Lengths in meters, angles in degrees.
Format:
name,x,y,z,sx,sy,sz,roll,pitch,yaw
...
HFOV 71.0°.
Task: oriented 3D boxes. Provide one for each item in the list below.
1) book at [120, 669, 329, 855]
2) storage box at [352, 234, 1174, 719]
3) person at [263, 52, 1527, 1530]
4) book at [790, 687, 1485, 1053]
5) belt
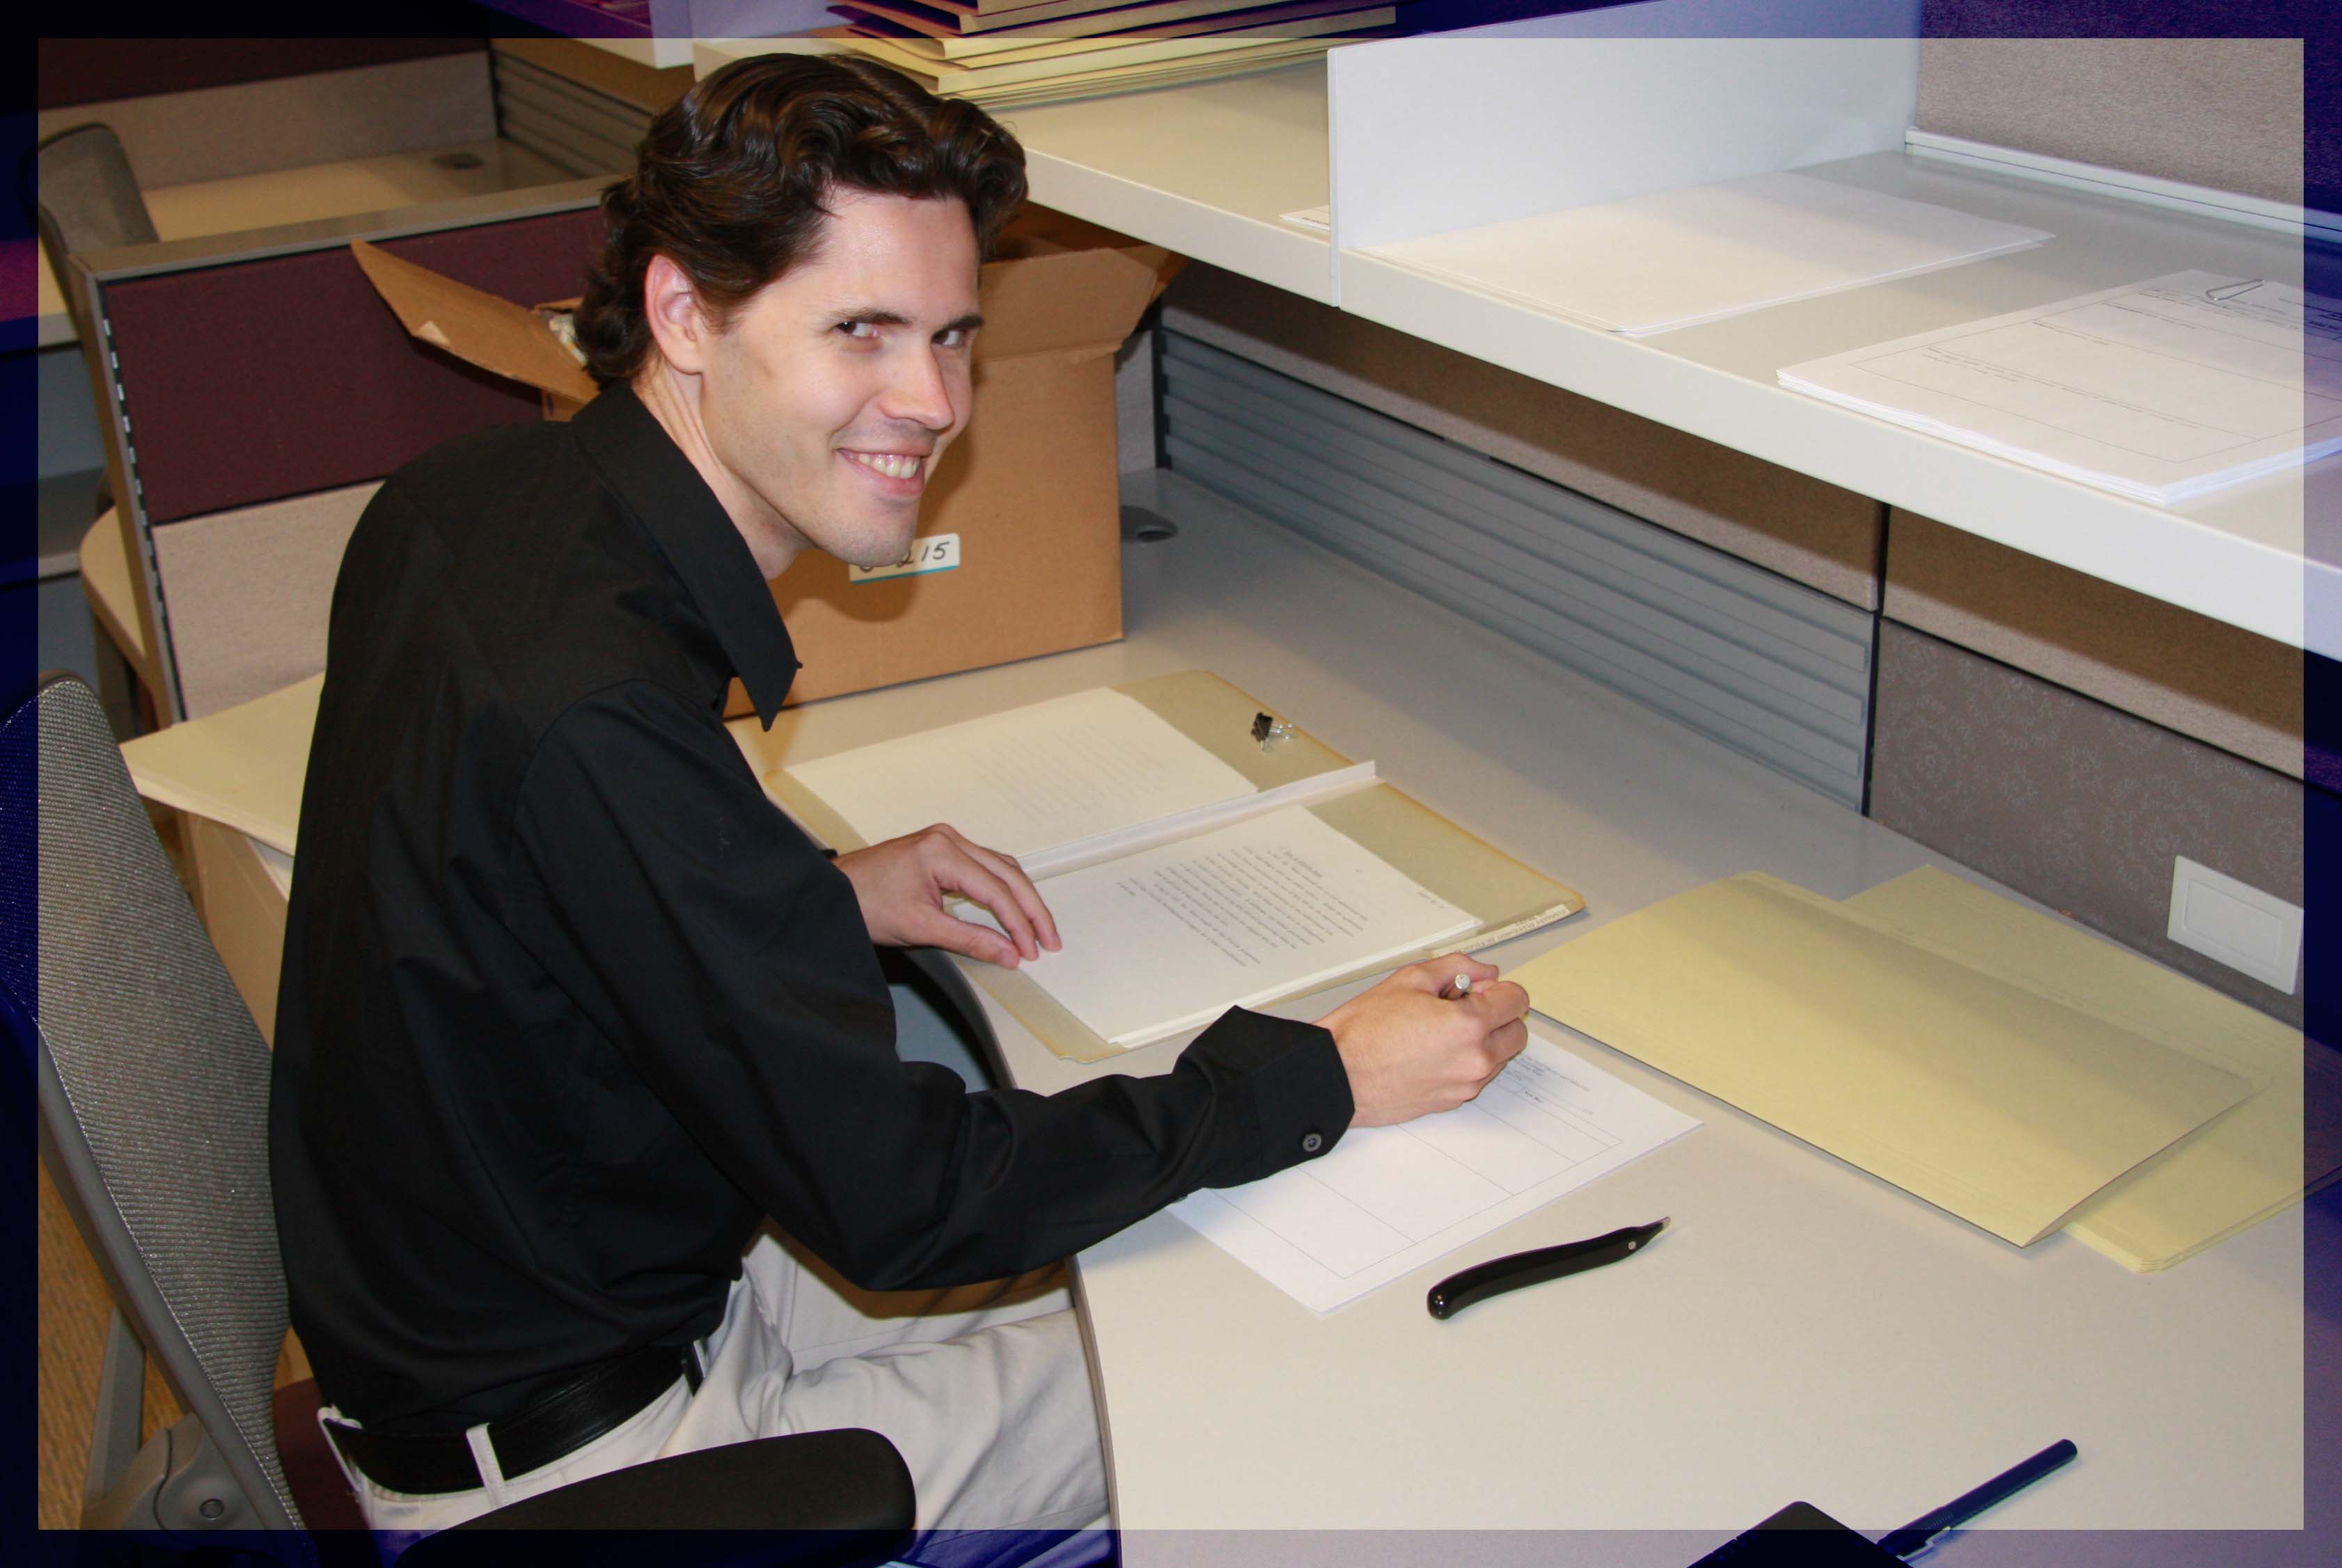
name,x,y,z,sx,sy,sz,roll,pitch,yaw
book,-1.100,-0.025,1.920,0.283,0.071,0.272,10,29,-4
storage box,-0.485,-0.532,2.111,0.777,0.506,0.782,-9,26,-17
person,-0.249,0.130,1.665,1.168,1.576,0.751,3,34,-3
book,-0.015,0.080,1.787,0.400,0.045,0.546,-16,32,-21
belt,-0.575,0.517,1.354,0.193,0.197,0.046,7,46,-33
